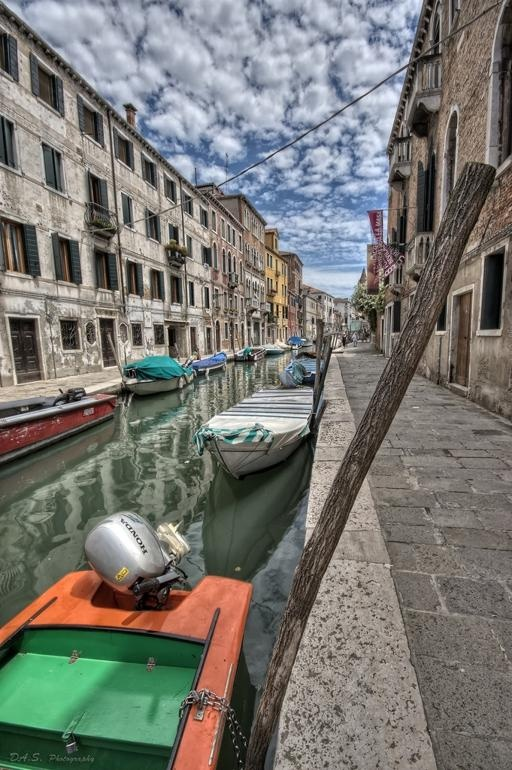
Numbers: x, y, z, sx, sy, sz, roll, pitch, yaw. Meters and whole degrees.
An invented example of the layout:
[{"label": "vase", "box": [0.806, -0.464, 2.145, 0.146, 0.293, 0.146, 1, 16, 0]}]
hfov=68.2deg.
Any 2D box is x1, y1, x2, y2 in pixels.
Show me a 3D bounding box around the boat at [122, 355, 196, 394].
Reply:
[{"label": "boat", "box": [-3.785, -0.314, 13.939, 0.738, 1.424, 2.886, 6, 9, 27]}]
